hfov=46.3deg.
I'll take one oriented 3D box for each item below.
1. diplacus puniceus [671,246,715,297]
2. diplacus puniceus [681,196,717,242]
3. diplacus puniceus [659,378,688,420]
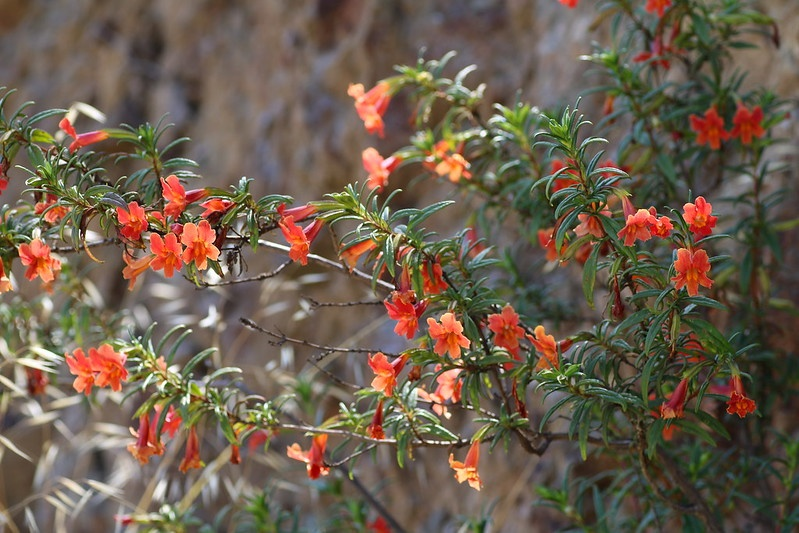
[{"bbox_3d":[1.454,0.030,4.682,0.208,0.207,0.232,2,83,2],"label":"diplacus puniceus"},{"bbox_3d":[1.489,-0.239,4.652,0.167,0.097,0.208,-23,100,16],"label":"diplacus puniceus"},{"bbox_3d":[1.384,0.682,4.685,0.106,0.092,0.221,26,105,19],"label":"diplacus puniceus"}]
